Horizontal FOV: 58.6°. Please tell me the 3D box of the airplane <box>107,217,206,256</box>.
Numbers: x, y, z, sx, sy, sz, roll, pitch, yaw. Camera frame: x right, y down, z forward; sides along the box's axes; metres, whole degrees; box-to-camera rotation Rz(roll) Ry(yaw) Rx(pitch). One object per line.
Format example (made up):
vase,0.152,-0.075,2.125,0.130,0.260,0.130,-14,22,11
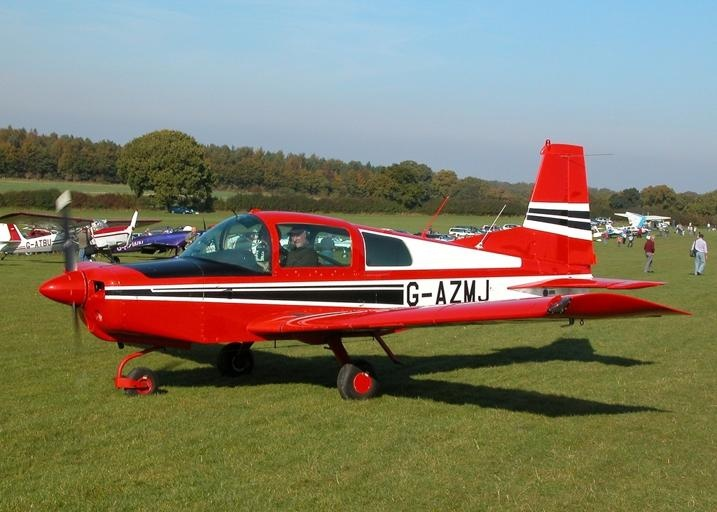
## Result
airplane,-9.551,-0.715,31.168,2.824,0.827,2.984,-7,12,-23
